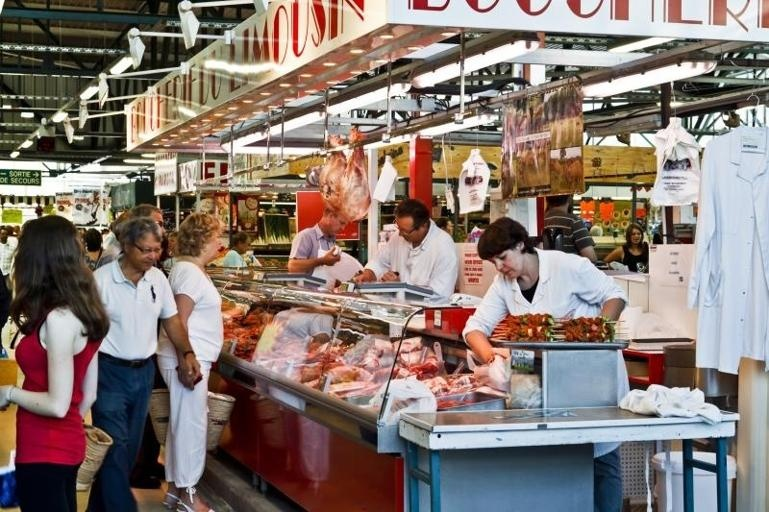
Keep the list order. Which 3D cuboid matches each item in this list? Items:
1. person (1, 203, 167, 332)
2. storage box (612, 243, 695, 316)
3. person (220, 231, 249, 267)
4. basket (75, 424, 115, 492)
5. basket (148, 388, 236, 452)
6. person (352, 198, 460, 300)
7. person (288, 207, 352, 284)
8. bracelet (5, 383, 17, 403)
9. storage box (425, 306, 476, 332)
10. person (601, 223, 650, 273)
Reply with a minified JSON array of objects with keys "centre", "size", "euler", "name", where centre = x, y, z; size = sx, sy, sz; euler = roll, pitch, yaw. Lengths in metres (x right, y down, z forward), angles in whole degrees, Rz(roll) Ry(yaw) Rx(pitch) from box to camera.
[{"centre":[-1.593,0.077,4.258],"size":[0.536,0.877,0.594],"euler":[-3,-3,32],"name":"person"},{"centre":[2.188,0.190,6.292],"size":[0.650,0.682,0.483],"euler":[0,6,5],"name":"storage box"},{"centre":[-2.264,-0.002,11.495],"size":[0.385,0.746,0.689],"euler":[4,-2,-13],"name":"person"},{"centre":[-1.862,1.236,4.679],"size":[0.208,0.306,0.182],"euler":[19,-10,-10],"name":"basket"},{"centre":[-1.817,1.473,6.664],"size":[0.543,0.391,0.563],"euler":[0,-28,27],"name":"basket"},{"centre":[0.204,-0.101,7.166],"size":[0.924,0.881,0.573],"euler":[3,4,41],"name":"person"},{"centre":[-0.758,-0.136,8.403],"size":[0.649,0.783,0.499],"euler":[-1,3,-23],"name":"person"},{"centre":[-1.937,0.717,3.937],"size":[0.022,0.075,0.053],"euler":[6,3,8],"name":"bracelet"},{"centre":[0.458,0.466,5.579],"size":[0.241,0.168,0.334],"euler":[0,2,-14],"name":"storage box"},{"centre":[3.814,-0.144,12.214],"size":[0.751,1.307,0.411],"euler":[2,-7,-16],"name":"person"}]
